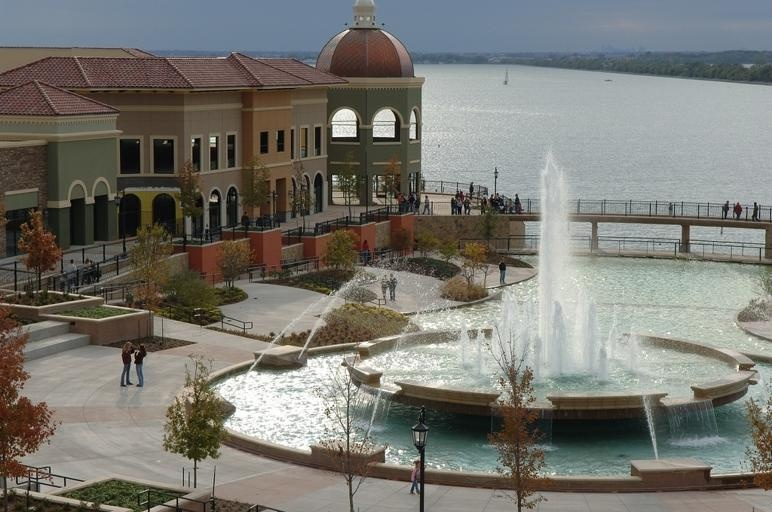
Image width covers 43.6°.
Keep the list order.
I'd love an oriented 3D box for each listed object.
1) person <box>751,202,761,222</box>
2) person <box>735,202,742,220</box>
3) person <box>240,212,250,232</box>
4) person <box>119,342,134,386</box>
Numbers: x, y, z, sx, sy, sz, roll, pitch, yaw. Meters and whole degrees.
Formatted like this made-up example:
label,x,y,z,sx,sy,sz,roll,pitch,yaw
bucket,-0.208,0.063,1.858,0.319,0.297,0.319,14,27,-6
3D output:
label,x,y,z,sx,sy,sz,roll,pitch,yaw
person,26.599,-3.131,69.464,0.512,1.188,2.041,1,5,21
person,25.551,-3.242,70.257,0.363,1.186,2.128,1,5,21
person,-8.476,-1.997,58.274,0.457,0.951,1.220,-2,5,-9
person,-10.130,4.131,37.545,0.426,1.712,1.086,-2,5,-15
